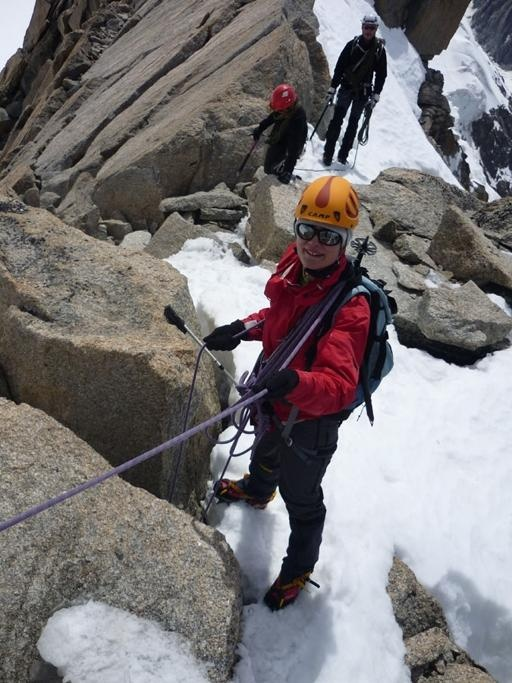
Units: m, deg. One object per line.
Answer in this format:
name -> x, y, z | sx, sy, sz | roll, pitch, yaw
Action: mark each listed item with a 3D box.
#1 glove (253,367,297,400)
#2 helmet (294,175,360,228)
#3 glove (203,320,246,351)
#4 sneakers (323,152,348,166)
glove -> 0.099, 0.227, 3.400 | 0.189, 0.074, 0.133 | -26, 35, -9
helmet -> 0.417, -0.737, 3.811 | 0.277, 0.346, 0.253 | 18, 87, 11
glove -> -0.178, -0.041, 4.227 | 0.259, 0.104, 0.149 | -35, 43, -15
sneakers -> 1.288, -2.973, 11.082 | 0.440, 0.285, 0.128 | -8, 78, -5
